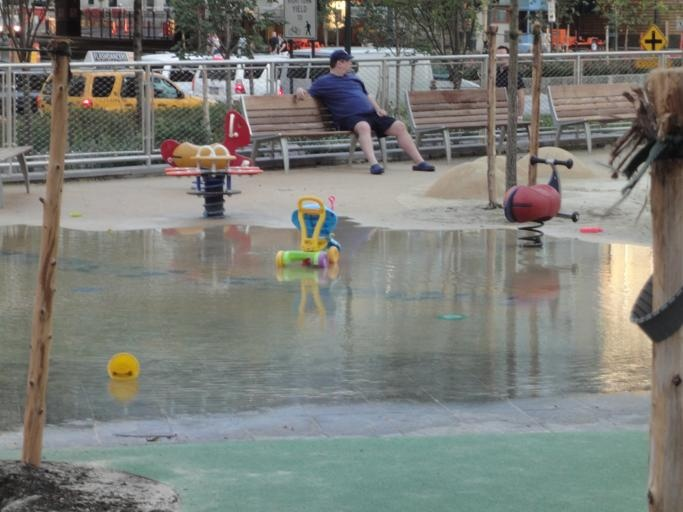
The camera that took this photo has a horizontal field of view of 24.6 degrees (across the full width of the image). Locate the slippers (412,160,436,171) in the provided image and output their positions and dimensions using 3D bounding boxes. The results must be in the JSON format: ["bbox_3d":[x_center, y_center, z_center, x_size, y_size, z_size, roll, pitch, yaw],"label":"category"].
[{"bbox_3d":[1.237,-1.326,23.287,0.317,0.161,0.350,-1,7,1],"label":"slippers"}]

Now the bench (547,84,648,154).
[{"bbox_3d":[4.253,-2.255,25.302,1.751,0.738,0.622,-5,27,-13],"label":"bench"}]

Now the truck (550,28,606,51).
[{"bbox_3d":[9.607,-8.643,63.103,1.975,0.935,16.893,0,8,10],"label":"truck"}]

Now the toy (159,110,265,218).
[{"bbox_3d":[-1.566,-1.067,18.782,1.199,1.115,1.075,-3,7,-9],"label":"toy"}]

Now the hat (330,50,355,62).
[{"bbox_3d":[0.043,-2.921,23.230,0.316,0.160,0.220,-3,14,-20],"label":"hat"}]

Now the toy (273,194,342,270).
[{"bbox_3d":[-0.212,-0.269,16.203,0.851,0.599,0.480,3,5,30],"label":"toy"}]

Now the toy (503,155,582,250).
[{"bbox_3d":[2.248,-0.630,18.043,0.584,1.022,1.191,5,8,38],"label":"toy"}]
